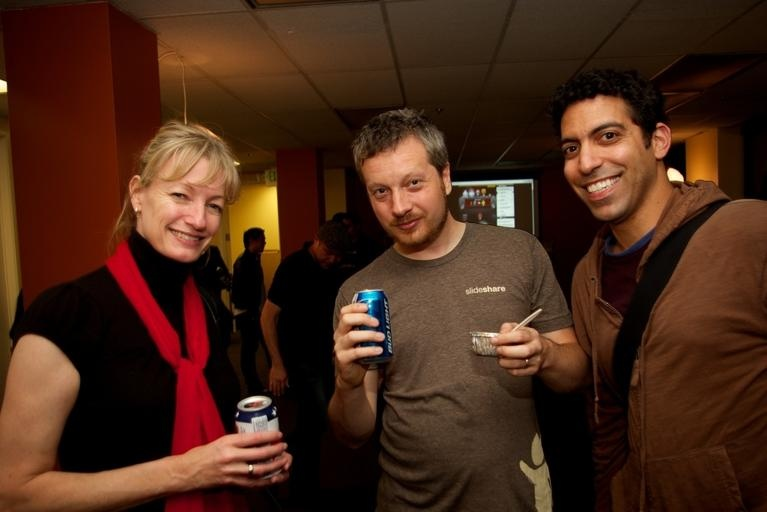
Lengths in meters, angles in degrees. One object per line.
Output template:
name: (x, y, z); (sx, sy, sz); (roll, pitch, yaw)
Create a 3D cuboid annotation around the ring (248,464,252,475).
ring: (-0.540, 0.858, 2.387); (0.023, 0.033, 0.035); (5, -14, 0)
